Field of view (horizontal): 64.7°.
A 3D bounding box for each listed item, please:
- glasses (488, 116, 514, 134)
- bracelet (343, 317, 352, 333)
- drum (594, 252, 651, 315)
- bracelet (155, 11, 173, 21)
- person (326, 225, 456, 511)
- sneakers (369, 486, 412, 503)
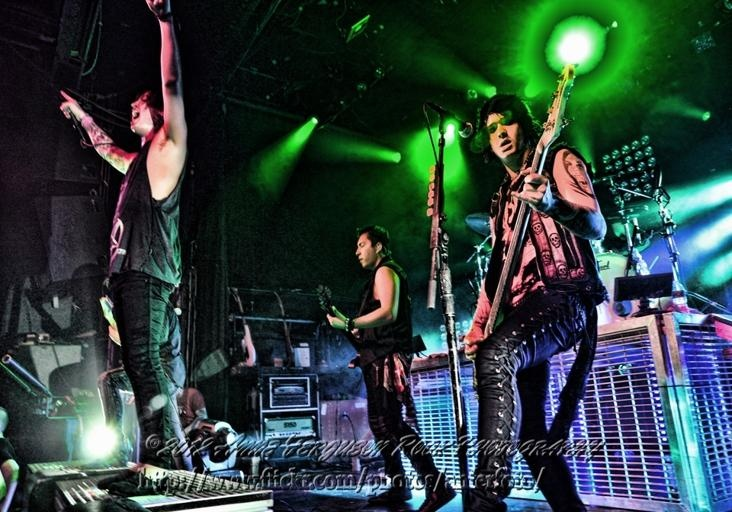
[{"bbox_3d":[1.072,-1.068,4.716,0.167,0.065,0.132,1,-1,-9],"label":"glasses"},{"bbox_3d":[-0.178,0.659,5.478,0.090,0.118,0.055,1,4,-19],"label":"bracelet"},{"bbox_3d":[2.713,0.313,6.196,0.498,0.520,0.492,6,-34,-23],"label":"drum"},{"bbox_3d":[-1.563,-1.878,4.505,0.083,0.035,0.061,-13,13,-29],"label":"bracelet"},{"bbox_3d":[0.189,0.975,5.656,0.911,2.869,0.820,-9,-18,7],"label":"person"},{"bbox_3d":[0.235,2.277,5.537,0.426,0.186,0.157,2,-18,-3],"label":"sneakers"}]
